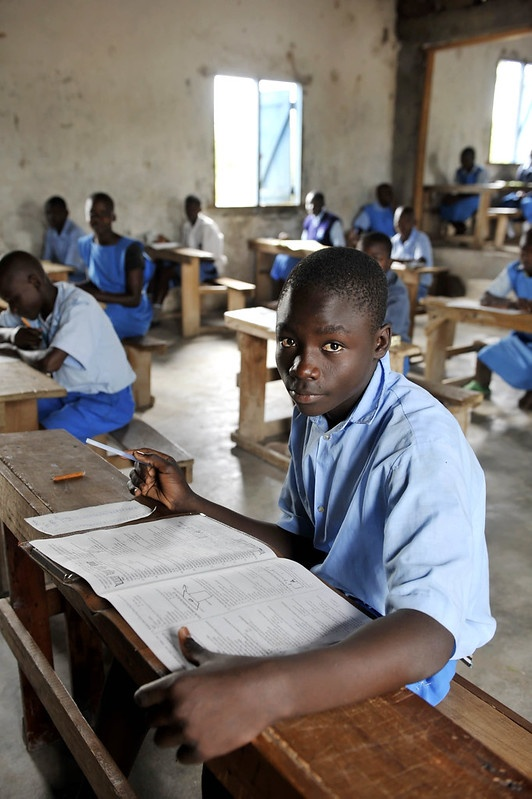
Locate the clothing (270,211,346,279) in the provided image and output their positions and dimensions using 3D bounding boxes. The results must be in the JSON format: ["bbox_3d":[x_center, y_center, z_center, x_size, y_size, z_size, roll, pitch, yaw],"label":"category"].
[{"bbox_3d":[0.486,-1.558,6.943,0.445,0.697,0.715,-11,21,-37],"label":"clothing"}]

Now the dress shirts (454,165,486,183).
[{"bbox_3d":[2.406,-2.638,7.981,0.306,0.268,0.162,17,41,40],"label":"dress shirts"}]

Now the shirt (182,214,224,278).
[{"bbox_3d":[-0.588,-1.401,6.267,0.336,0.550,0.586,-16,34,-23],"label":"shirt"}]

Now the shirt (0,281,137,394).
[{"bbox_3d":[-0.736,-0.232,2.799,0.443,0.449,0.631,-24,28,-22],"label":"shirt"}]

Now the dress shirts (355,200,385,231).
[{"bbox_3d":[1.166,-2.048,7.591,0.430,0.333,0.132,2,28,-10],"label":"dress shirts"}]

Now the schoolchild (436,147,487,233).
[{"bbox_3d":[2.408,-2.521,8.228,0.430,0.971,0.565,15,18,42],"label":"schoolchild"}]

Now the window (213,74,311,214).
[{"bbox_3d":[-0.057,-2.576,6.705,1.220,1.353,0.106,-12,26,-32],"label":"window"}]

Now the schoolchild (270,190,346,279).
[{"bbox_3d":[0.466,-1.625,6.917,0.787,0.919,0.664,6,26,20],"label":"schoolchild"}]

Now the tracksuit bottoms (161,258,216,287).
[{"bbox_3d":[-0.689,-1.152,6.125,0.352,0.144,0.415,-3,8,-6],"label":"tracksuit bottoms"}]

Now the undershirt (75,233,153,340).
[{"bbox_3d":[-1.061,-0.710,4.343,0.652,0.669,0.597,-1,24,-8],"label":"undershirt"}]
